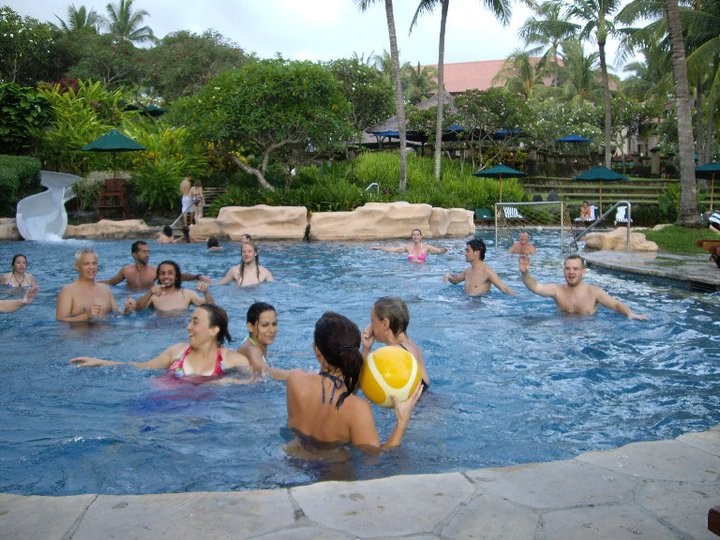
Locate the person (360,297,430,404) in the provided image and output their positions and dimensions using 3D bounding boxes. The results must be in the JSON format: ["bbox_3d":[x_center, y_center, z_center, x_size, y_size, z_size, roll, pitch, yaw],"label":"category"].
[{"bbox_3d":[0.321,0.667,5.312,0.519,0.881,0.574,1,5,11],"label":"person"}]

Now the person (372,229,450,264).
[{"bbox_3d":[1.452,-0.668,14.763,0.971,0.768,1.604,-4,9,-21],"label":"person"}]

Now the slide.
[{"bbox_3d":[-10.901,-2.129,20.863,1.642,1.375,5.510,12,13,-20],"label":"slide"}]

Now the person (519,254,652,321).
[{"bbox_3d":[3.047,0.177,8.469,1.688,0.911,0.837,-1,9,0],"label":"person"}]

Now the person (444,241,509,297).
[{"bbox_3d":[2.004,-0.064,10.176,0.745,0.935,1.071,-3,9,-12],"label":"person"}]

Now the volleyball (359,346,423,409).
[{"bbox_3d":[0.222,0.780,4.309,0.437,0.409,0.253,-1,9,-1],"label":"volleyball"}]
